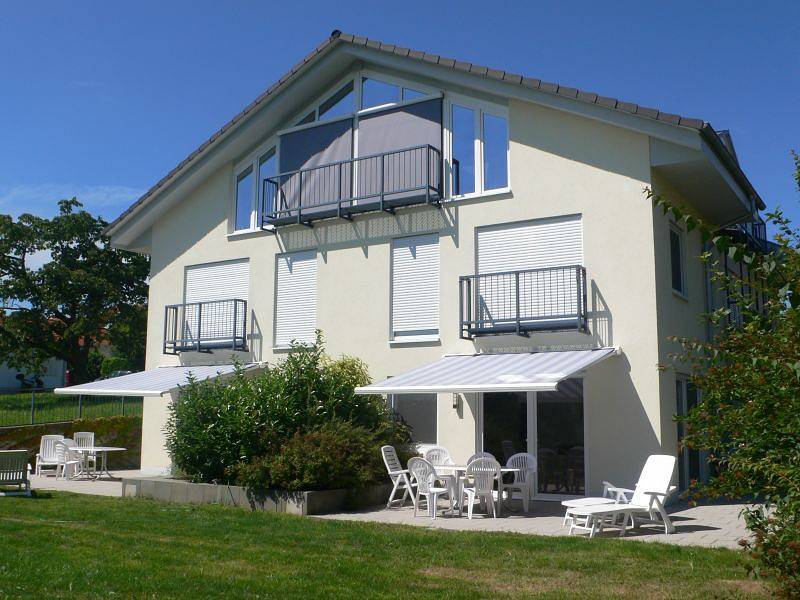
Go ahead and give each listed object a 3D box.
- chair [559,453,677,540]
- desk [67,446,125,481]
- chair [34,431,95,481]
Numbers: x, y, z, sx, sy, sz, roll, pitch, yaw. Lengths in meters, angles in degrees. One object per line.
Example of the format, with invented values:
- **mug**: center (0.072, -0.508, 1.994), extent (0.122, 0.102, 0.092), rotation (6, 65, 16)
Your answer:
- **chair**: center (5.245, 4.778, 21.824), extent (2.379, 1.809, 1.785), rotation (7, -15, -33)
- **desk**: center (-10.630, 5.554, 31.308), extent (1.481, 0.933, 1.643), rotation (2, -4, -7)
- **chair**: center (-11.705, 5.503, 31.719), extent (1.381, 1.124, 0.610), rotation (-5, -14, 18)
